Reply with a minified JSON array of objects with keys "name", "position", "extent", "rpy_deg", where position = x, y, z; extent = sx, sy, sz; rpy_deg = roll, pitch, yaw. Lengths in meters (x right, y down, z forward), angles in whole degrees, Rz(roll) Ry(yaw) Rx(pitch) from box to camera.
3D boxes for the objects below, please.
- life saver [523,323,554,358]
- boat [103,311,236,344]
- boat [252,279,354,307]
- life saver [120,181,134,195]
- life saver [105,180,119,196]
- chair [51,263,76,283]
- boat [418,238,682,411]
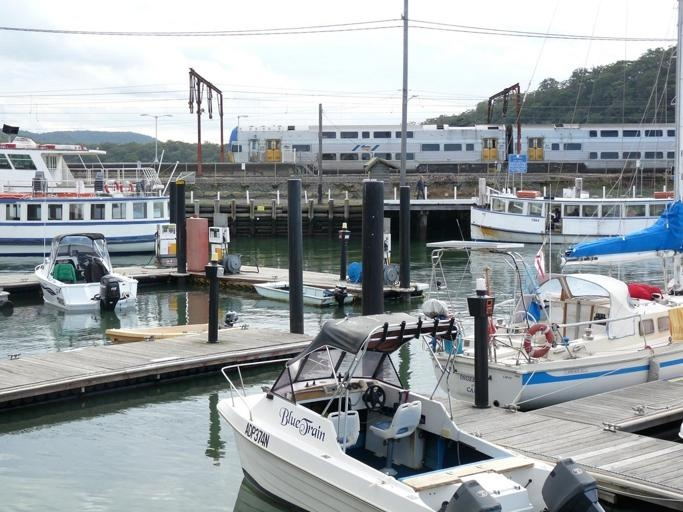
[{"name":"life saver","position":[3.453,1.533,16.054],"extent":[0.610,0.574,0.168],"rpy_deg":[22,-13,-17]},{"name":"boat","position":[-3.970,1.723,20.350],"extent":[3.470,0.873,1.011],"rpy_deg":[0,-1,-29]},{"name":"boat","position":[-1.162,1.074,25.218],"extent":[2.125,0.448,1.015],"rpy_deg":[9,10,41]},{"name":"life saver","position":[-9.127,-2.884,38.764],"extent":[0.787,0.268,0.737],"rpy_deg":[1,18,-3]},{"name":"life saver","position":[-9.755,-2.859,38.603],"extent":[0.775,0.383,1.062],"rpy_deg":[0,10,-19]},{"name":"chair","position":[-7.622,0.489,25.169],"extent":[0.553,0.567,0.698],"rpy_deg":[0,34,-13]},{"name":"boat","position":[3.920,1.532,16.915],"extent":[5.712,1.959,2.692],"rpy_deg":[-5,8,-39]}]
